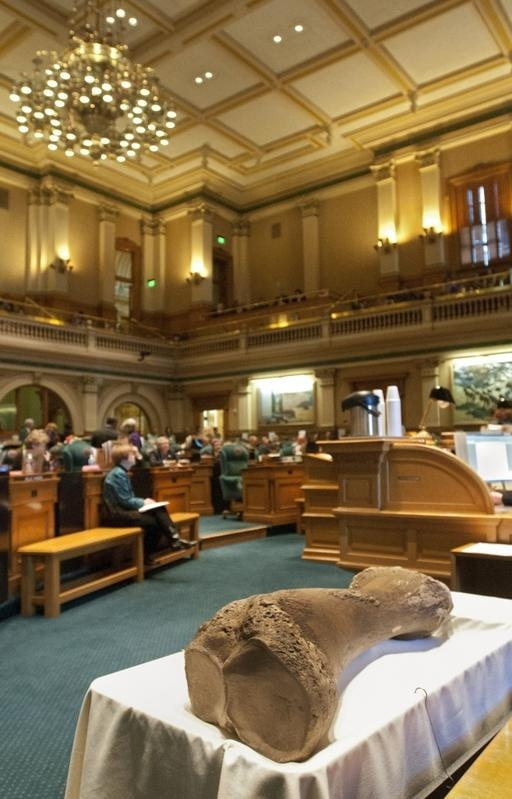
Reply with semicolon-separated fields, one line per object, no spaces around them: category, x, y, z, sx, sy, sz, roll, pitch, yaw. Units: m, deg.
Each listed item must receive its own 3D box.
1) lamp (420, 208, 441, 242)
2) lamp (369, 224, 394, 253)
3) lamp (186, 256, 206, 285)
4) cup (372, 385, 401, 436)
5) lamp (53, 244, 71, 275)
lamp;4.890;-4.724;15.581;0.511;0.932;0.455;-1;-2;22
lamp;3.830;-4.643;16.453;0.608;0.951;0.423;-1;-2;17
lamp;-2.071;-4.390;19.574;0.723;0.997;0.409;-1;-2;20
cup;0.987;0.086;4.191;0.199;0.366;0.477;-1;-2;15
lamp;-5.839;-4.243;17.253;0.363;1.016;0.733;-1;-2;14
